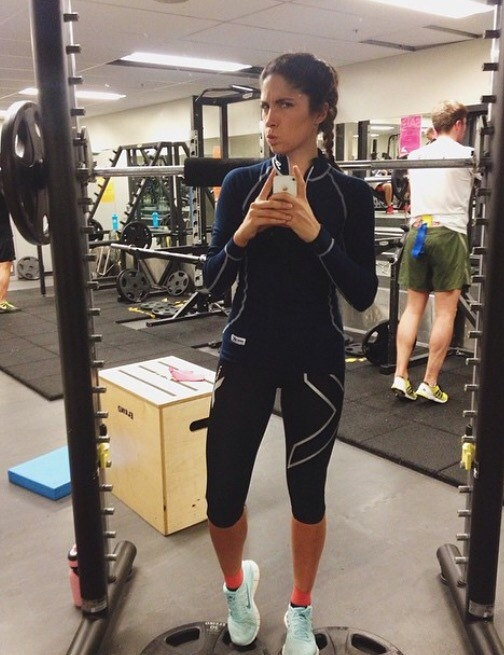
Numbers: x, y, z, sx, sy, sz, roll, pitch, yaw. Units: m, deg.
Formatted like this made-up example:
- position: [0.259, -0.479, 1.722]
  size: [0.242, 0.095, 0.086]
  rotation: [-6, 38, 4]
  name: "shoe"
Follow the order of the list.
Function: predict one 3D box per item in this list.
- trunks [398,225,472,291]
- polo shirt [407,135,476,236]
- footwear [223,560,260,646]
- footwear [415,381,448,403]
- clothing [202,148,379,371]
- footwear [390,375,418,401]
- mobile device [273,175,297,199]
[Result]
- position: [1.111, -0.425, 3.276]
  size: [0.403, 0.415, 0.249]
  rotation: [0, 1, 35]
  name: "trunks"
- position: [1.141, -0.790, 3.233]
  size: [0.446, 0.639, 0.317]
  rotation: [2, -18, 15]
  name: "polo shirt"
- position: [-0.037, 0.710, 1.374]
  size: [0.075, 0.232, 0.093]
  rotation: [-1, 2, 28]
  name: "footwear"
- position: [1.081, 0.395, 3.216]
  size: [0.221, 0.112, 0.095]
  rotation: [29, -6, -32]
  name: "footwear"
- position: [0.074, -0.132, 1.104]
  size: [0.352, 0.444, 0.200]
  rotation: [4, 15, 19]
  name: "clothing"
- position: [0.921, 0.370, 3.254]
  size: [0.088, 0.114, 0.243]
  rotation: [24, -11, 49]
  name: "footwear"
- position: [0.060, -0.259, 0.959]
  size: [0.042, 0.036, 0.028]
  rotation: [-1, 15, 2]
  name: "mobile device"
